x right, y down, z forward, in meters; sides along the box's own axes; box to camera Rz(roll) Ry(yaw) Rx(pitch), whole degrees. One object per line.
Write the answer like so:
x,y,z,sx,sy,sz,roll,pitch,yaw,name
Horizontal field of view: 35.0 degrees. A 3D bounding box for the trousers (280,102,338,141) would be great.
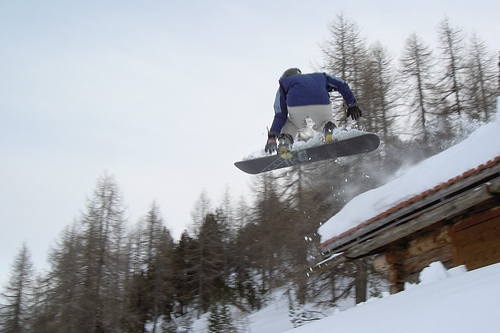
3.412,-2.635,46.236,3.077,2.216,1.030,-10,-11,3,trousers
